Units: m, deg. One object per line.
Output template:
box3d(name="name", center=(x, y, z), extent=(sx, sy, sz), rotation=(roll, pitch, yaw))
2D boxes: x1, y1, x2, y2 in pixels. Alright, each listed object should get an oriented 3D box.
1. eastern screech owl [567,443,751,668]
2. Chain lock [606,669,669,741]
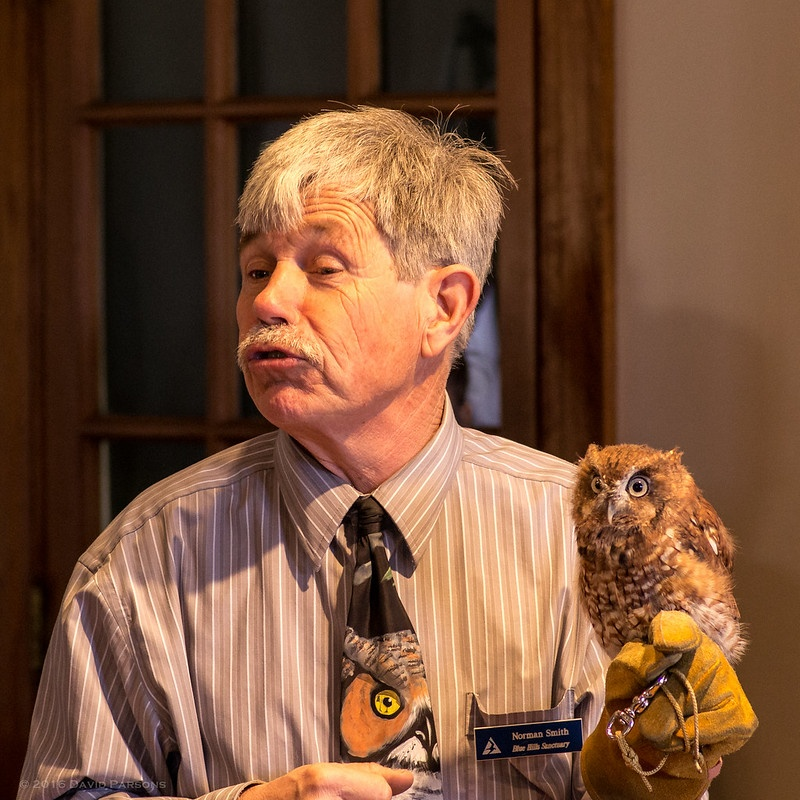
box3d(name="eastern screech owl", center=(0.376, 0.220, 2.077), extent=(0.249, 0.227, 0.424), rotation=(-12, -73, -31))
box3d(name="Chain lock", center=(0.338, 0.430, 1.913), extent=(0.028, 0.029, 0.099), rotation=(31, -80, -44))
